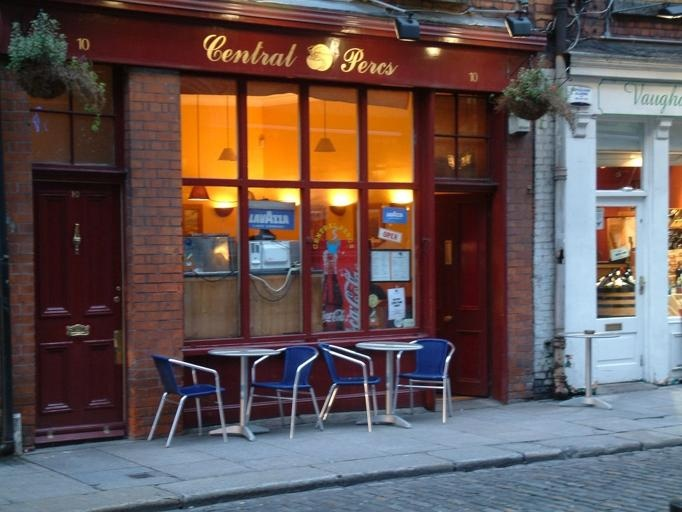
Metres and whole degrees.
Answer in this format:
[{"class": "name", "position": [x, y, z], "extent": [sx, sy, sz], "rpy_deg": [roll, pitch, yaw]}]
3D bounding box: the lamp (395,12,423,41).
[{"class": "lamp", "position": [0.875, -3.053, 13.208], "extent": [0.336, 0.437, 0.418], "rpy_deg": [-2, -3, 3]}]

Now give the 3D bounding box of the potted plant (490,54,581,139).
[{"class": "potted plant", "position": [2.625, -2.148, 13.501], "extent": [0.870, 0.503, 0.549], "rpy_deg": [-3, 1, 25]}]

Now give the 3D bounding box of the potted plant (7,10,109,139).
[{"class": "potted plant", "position": [-3.306, -2.212, 11.588], "extent": [0.955, 1.380, 1.115], "rpy_deg": [-2, -3, 13]}]

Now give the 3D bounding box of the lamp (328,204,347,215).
[{"class": "lamp", "position": [-0.048, -0.623, 13.543], "extent": [0.160, 0.094, 0.189], "rpy_deg": [-2, -4, 36]}]

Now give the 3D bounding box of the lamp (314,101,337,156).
[{"class": "lamp", "position": [-0.219, -1.723, 13.482], "extent": [0.291, 0.662, 0.073], "rpy_deg": [0, -4, -34]}]

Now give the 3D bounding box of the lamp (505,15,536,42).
[{"class": "lamp", "position": [2.477, -3.190, 13.734], "extent": [0.409, 0.417, 0.275], "rpy_deg": [1, -48, -7]}]
